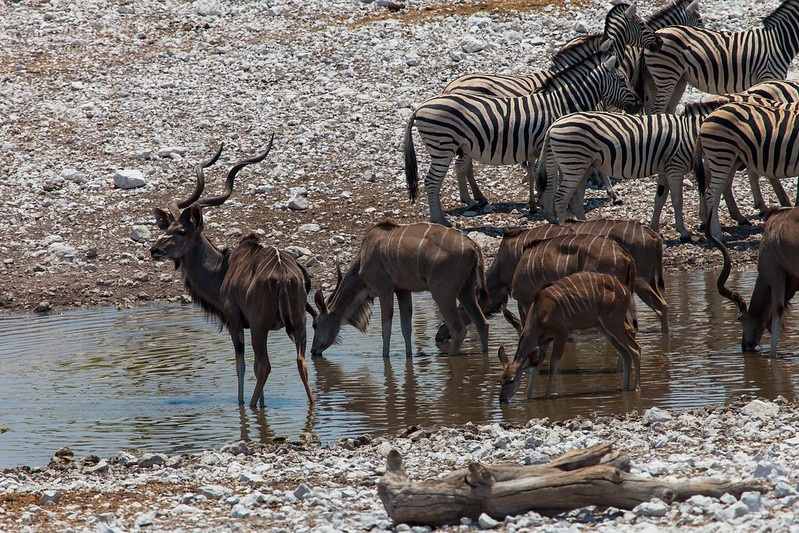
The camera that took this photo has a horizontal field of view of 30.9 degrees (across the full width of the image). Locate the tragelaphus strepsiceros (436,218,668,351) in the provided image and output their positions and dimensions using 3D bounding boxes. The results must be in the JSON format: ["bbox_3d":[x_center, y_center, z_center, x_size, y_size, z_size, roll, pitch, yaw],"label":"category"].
[{"bbox_3d":[1.847,0.224,25.074,2.703,2.129,6.419,2,1,-20],"label":"tragelaphus strepsiceros"}]

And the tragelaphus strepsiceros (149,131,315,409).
[{"bbox_3d":[-2.606,0.162,23.245,2.648,4.047,1.257,2,6,33],"label":"tragelaphus strepsiceros"}]
